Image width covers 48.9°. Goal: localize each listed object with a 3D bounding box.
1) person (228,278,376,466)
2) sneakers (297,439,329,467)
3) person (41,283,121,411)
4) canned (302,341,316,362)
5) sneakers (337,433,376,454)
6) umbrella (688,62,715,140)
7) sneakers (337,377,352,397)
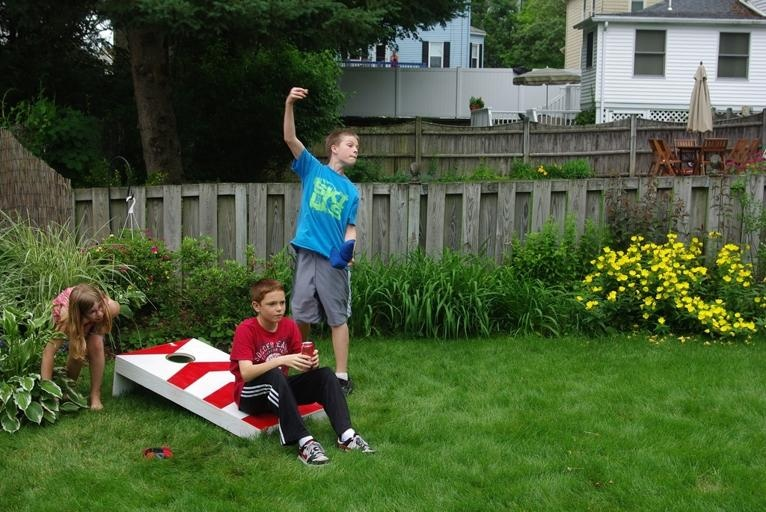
[{"bbox_3d":[-0.853,1.074,8.379,0.846,1.696,1.746,-3,4,-43],"label":"person"},{"bbox_3d":[-0.660,1.902,8.181,0.300,0.218,0.178,0,7,-8],"label":"sneakers"},{"bbox_3d":[-3.197,0.933,8.999,0.732,1.301,0.582,1,7,-1],"label":"person"},{"bbox_3d":[-0.742,0.963,8.550,0.133,0.235,0.139,2,1,-5],"label":"canned"},{"bbox_3d":[-0.254,1.863,8.371,0.378,0.190,0.156,3,-1,13],"label":"sneakers"},{"bbox_3d":[7.309,-3.647,19.415,0.510,1.484,0.786,3,8,19],"label":"umbrella"},{"bbox_3d":[-0.406,1.400,8.938,0.186,0.263,0.585,1,-7,-1],"label":"sneakers"}]
